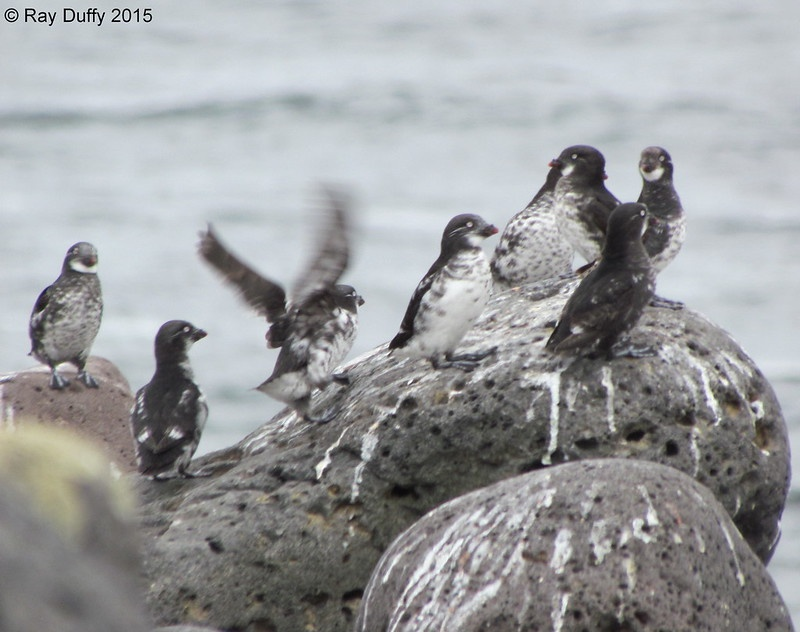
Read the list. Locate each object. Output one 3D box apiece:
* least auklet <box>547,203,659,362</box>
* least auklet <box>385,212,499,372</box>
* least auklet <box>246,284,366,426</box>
[{"bbox_3d":[1.493,-0.221,13.344,0.651,1.042,0.820,10,12,21],"label":"least auklet"},{"bbox_3d":[0.332,-0.158,13.781,0.640,1.059,0.564,8,11,12],"label":"least auklet"},{"bbox_3d":[-0.692,0.256,14.054,0.917,1.098,0.754,9,-22,-36],"label":"least auklet"}]
